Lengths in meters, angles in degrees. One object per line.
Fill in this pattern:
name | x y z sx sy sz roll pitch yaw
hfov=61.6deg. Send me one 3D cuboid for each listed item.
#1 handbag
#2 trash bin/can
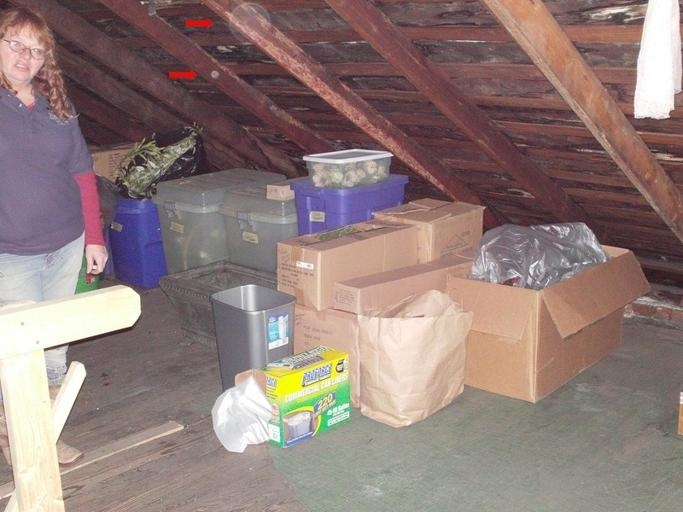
handbag | 0.314 0.476 2.668 0.338 0.563 0.535 16 37 35
trash bin/can | -0.386 0.369 2.863 0.476 0.513 0.371 -9 24 -33
